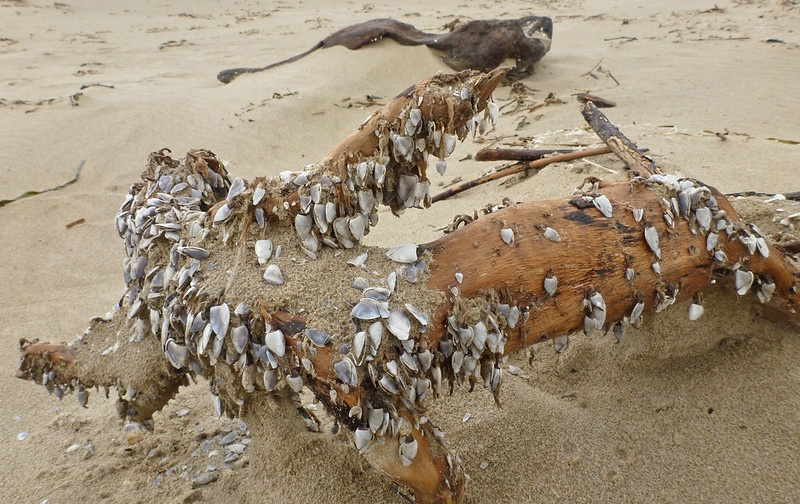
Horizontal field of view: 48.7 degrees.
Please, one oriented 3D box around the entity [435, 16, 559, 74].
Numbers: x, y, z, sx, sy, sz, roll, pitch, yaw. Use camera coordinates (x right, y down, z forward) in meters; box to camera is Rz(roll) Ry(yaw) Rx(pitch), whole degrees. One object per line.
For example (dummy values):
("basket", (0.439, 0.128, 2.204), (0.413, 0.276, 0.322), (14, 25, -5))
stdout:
("entity", (1.411, -3.339, 13.491), (1.423, 0.559, 1.111), (2, 37, 7))
